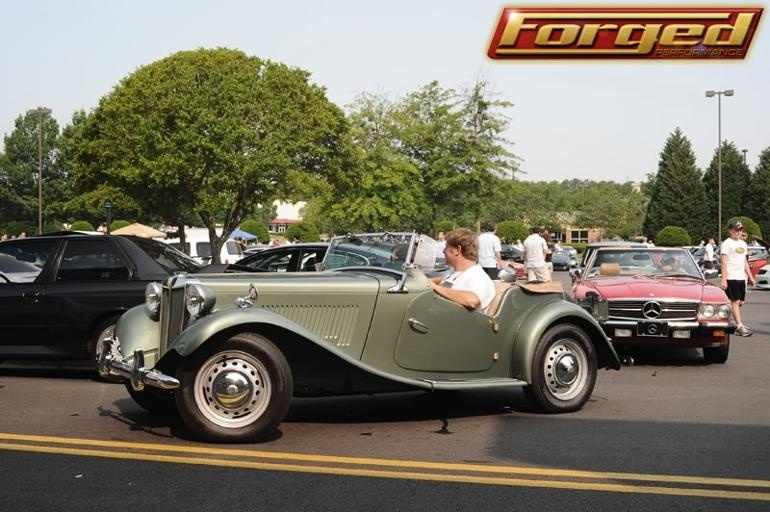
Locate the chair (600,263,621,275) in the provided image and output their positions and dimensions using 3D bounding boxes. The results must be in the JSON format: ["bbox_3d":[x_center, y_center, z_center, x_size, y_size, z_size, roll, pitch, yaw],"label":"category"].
[{"bbox_3d":[4.437,0.262,11.703,0.309,0.227,0.242,0,-7,-3],"label":"chair"}]
